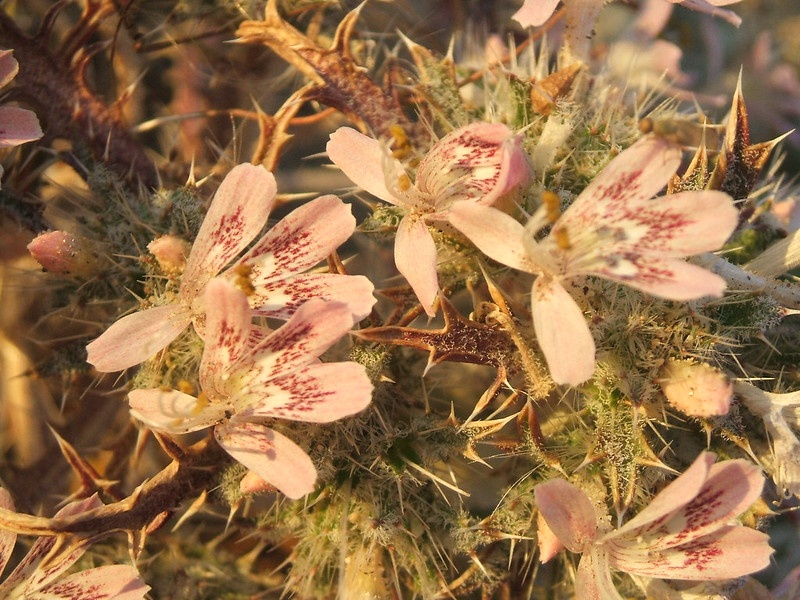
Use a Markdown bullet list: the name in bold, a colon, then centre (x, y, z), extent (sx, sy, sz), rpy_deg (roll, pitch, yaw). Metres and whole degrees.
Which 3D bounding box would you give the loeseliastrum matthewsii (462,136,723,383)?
- **loeseliastrum matthewsii**: centre (0.694, -0.148, 3.819), extent (0.743, 0.261, 0.643), rpy_deg (-26, 82, -7)

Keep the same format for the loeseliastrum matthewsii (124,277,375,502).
- **loeseliastrum matthewsii**: centre (-0.559, 0.232, 3.815), extent (0.259, 0.574, 0.516), rpy_deg (-25, 72, 10)

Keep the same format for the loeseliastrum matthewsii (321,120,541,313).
- **loeseliastrum matthewsii**: centre (0.145, -0.257, 3.992), extent (0.661, 0.309, 0.651), rpy_deg (20, 76, 3)
